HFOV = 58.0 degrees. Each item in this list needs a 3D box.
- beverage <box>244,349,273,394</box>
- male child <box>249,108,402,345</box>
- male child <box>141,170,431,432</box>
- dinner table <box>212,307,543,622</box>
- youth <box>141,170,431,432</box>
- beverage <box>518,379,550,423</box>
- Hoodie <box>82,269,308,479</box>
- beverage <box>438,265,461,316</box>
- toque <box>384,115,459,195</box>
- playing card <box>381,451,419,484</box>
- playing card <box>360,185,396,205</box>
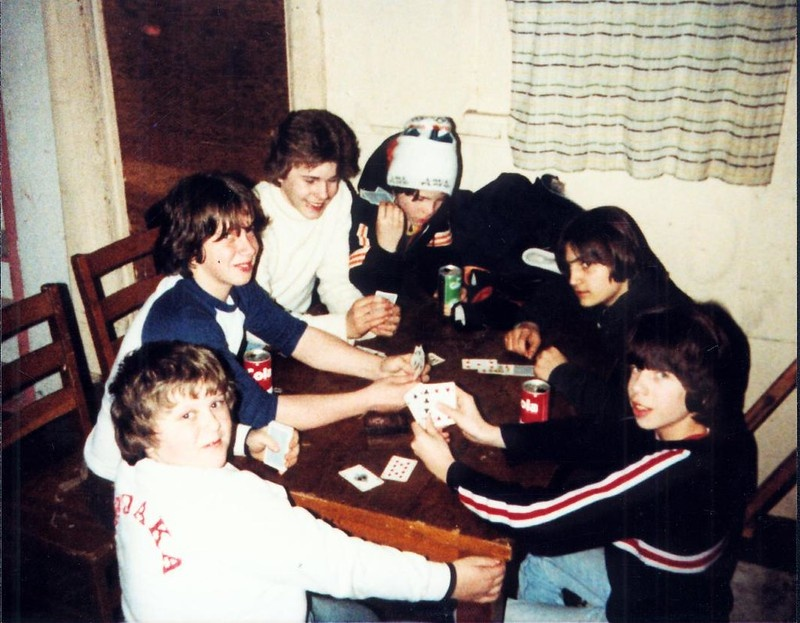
[{"bbox_3d":[-0.620,0.274,3.154,0.114,0.191,0.113,-4,23,-14],"label":"beverage"},{"bbox_3d":[-0.414,-0.478,3.884,0.525,0.910,0.856,-33,64,-27],"label":"male child"},{"bbox_3d":[-0.501,-0.053,3.116,1.293,0.981,0.733,6,21,-2],"label":"male child"},{"bbox_3d":[-0.042,0.882,3.302,1.152,0.813,1.546,5,43,4],"label":"dinner table"},{"bbox_3d":[-0.502,-0.058,3.083,1.308,0.991,0.767,5,19,5],"label":"youth"},{"bbox_3d":[0.563,0.403,3.037,0.114,0.206,0.110,-18,28,-31],"label":"beverage"},{"bbox_3d":[-0.837,0.214,3.170,0.919,0.920,0.735,8,34,0],"label":"Hoodie"},{"bbox_3d":[0.256,-0.092,3.751,0.120,0.304,0.118,-18,39,-21],"label":"beverage"},{"bbox_3d":[0.130,-0.823,3.816,0.367,0.365,0.347,19,35,2],"label":"toque"},{"bbox_3d":[-0.005,0.617,2.835,0.104,0.008,0.120,9,41,13],"label":"playing card"},{"bbox_3d":[-0.147,-0.674,4.195,0.147,0.103,0.051,31,35,28],"label":"playing card"}]
